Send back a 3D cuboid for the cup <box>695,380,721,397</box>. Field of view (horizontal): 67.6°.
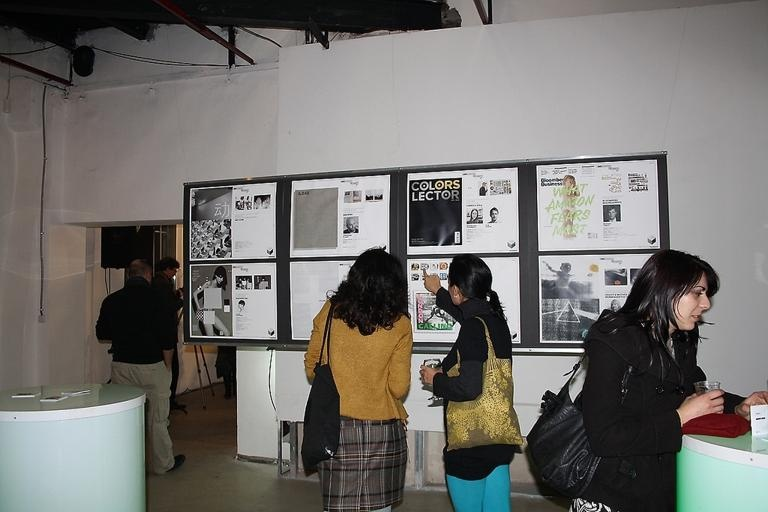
[{"bbox_3d":[1.698,0.700,3.013,0.086,0.062,0.083,4,-6,0],"label":"cup"}]

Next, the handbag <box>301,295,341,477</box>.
[{"bbox_3d":[-0.387,0.802,3.529,0.235,1.005,0.153,0,1,-7],"label":"handbag"}]

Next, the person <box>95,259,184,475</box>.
[{"bbox_3d":[-2.333,1.046,5.511,0.738,2.014,0.324,1,1,-1],"label":"person"}]

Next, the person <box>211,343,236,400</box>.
[{"bbox_3d":[-2.249,1.629,8.117,0.252,0.792,0.551,0,1,-11],"label":"person"}]

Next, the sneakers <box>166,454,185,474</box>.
[{"bbox_3d":[-2.014,2.005,5.559,0.057,0.110,0.164,26,41,18],"label":"sneakers"}]

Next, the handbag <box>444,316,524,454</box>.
[{"bbox_3d":[0.609,0.785,3.501,0.446,0.810,0.153,1,1,-1],"label":"handbag"}]
